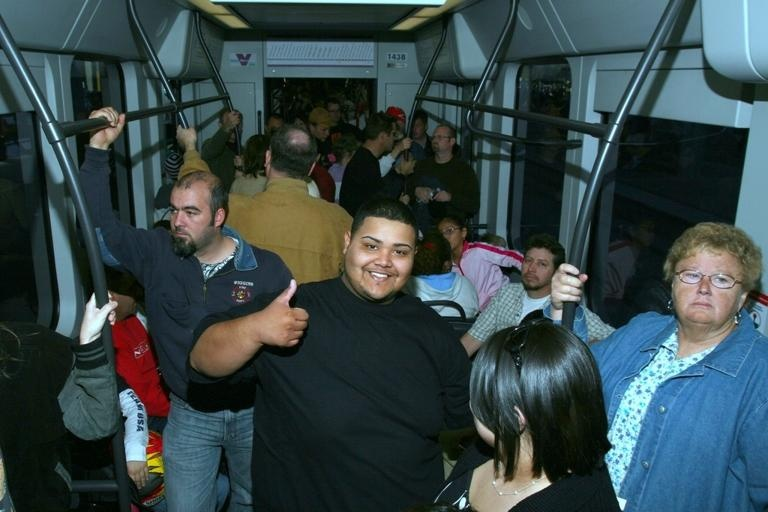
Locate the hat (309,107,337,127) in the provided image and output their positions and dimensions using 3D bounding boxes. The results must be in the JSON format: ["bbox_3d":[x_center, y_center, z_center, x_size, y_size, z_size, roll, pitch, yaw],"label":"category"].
[{"bbox_3d":[-0.703,-1.682,7.660,0.387,0.189,0.277,2,16,-18],"label":"hat"}]

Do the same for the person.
[{"bbox_3d":[0.041,0.177,2.766,3.195,1.400,1.096,8,15,16],"label":"person"}]

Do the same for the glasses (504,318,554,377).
[{"bbox_3d":[0.563,0.347,2.319,0.052,0.177,0.174,40,-10,-18],"label":"glasses"}]
